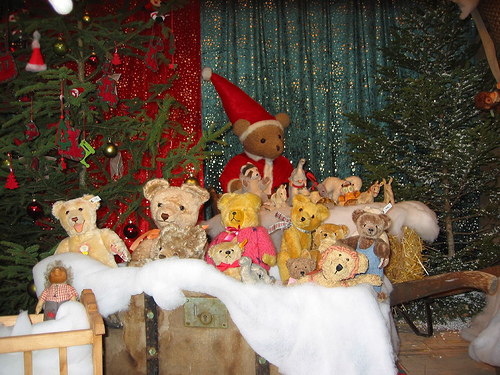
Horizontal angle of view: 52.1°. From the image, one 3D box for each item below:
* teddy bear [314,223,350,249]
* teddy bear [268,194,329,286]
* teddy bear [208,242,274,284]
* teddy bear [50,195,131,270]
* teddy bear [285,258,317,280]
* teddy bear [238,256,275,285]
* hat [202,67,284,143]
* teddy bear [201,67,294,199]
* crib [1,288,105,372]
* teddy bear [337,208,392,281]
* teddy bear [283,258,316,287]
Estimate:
[{"bbox_3d":[0.553,0.294,3.485,0.253,0.191,0.159,1,-14,12],"label":"teddy bear"},{"bbox_3d":[0.322,0.340,3.506,0.365,0.538,0.363,-2,10,-4],"label":"teddy bear"},{"bbox_3d":[-0.073,0.427,3.184,0.213,0.138,0.341,-10,24,-41],"label":"teddy bear"},{"bbox_3d":[-1.088,0.296,3.462,0.515,0.515,0.225,-5,1,-6],"label":"teddy bear"},{"bbox_3d":[0.321,0.480,3.159,0.186,0.130,0.119,0,-8,1],"label":"teddy bear"},{"bbox_3d":[0.043,0.502,3.161,0.207,0.165,0.256,-5,1,1],"label":"teddy bear"},{"bbox_3d":[-0.074,-0.734,4.579,0.667,0.627,0.573,-8,14,-37],"label":"hat"},{"bbox_3d":[0.009,-0.455,4.588,0.711,1.206,0.625,-7,13,-34],"label":"teddy bear"},{"bbox_3d":[-1.116,0.827,2.904,0.550,0.470,0.419,-5,1,-18],"label":"crib"},{"bbox_3d":[0.740,0.324,3.297,0.322,0.425,0.338,1,10,14],"label":"teddy bear"},{"bbox_3d":[0.303,0.492,3.161,0.215,0.218,0.160,1,-3,-2],"label":"teddy bear"}]
